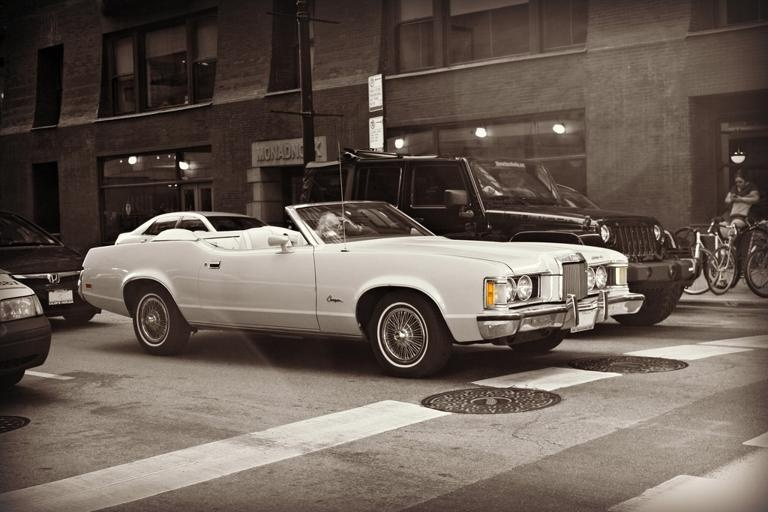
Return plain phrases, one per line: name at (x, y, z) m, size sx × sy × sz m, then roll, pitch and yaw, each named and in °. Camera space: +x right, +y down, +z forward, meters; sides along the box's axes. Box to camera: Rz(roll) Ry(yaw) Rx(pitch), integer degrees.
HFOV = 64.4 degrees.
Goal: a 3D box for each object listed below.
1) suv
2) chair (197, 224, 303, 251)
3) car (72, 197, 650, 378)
suv at (1.918, -0.471, 11.199) m, size 5.770 × 2.537 × 3.177 m, roll -3°, pitch -2°, yaw 33°
chair at (-2.011, -0.259, 9.105) m, size 0.803 × 0.294 × 0.597 m, roll 6°, pitch 5°, yaw 35°
car at (-0.767, 0.326, 8.801) m, size 7.926 × 2.156 × 2.829 m, roll -1°, pitch 2°, yaw 31°
